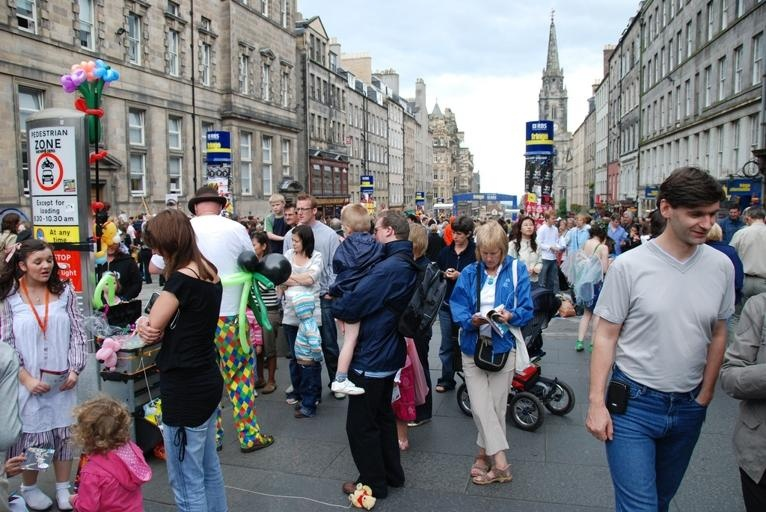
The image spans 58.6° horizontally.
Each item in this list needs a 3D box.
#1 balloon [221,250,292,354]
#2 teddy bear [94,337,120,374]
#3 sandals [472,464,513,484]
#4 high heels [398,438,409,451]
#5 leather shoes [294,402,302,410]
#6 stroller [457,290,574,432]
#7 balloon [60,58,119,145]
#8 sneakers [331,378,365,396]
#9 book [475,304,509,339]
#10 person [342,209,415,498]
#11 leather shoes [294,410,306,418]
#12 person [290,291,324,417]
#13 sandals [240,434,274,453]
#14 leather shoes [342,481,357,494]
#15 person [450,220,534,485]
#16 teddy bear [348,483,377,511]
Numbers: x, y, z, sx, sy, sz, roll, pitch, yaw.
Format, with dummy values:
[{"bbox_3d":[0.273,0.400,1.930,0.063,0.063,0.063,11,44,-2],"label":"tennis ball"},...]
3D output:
[{"bbox_3d":[-1.426,0.509,7.551,0.666,1.146,0.528,5,13,24],"label":"balloon"},{"bbox_3d":[-3.000,1.103,7.505,0.280,0.451,0.315,-1,-15,-18],"label":"teddy bear"},{"bbox_3d":[1.182,2.355,7.327,0.394,0.195,0.188,2,-1,7],"label":"sandals"},{"bbox_3d":[0.241,2.227,8.004,0.150,0.072,0.087,9,1,11],"label":"high heels"},{"bbox_3d":[-1.134,2.009,9.066,0.101,0.109,0.247,2,3,-3],"label":"leather shoes"},{"bbox_3d":[1.650,1.256,8.857,0.937,1.634,1.460,-5,6,-43],"label":"stroller"},{"bbox_3d":[-4.127,-2.189,9.648,0.669,1.194,1.404,-4,12,-16],"label":"balloon"},{"bbox_3d":[-0.379,1.354,7.049,0.365,0.187,0.146,3,4,-8],"label":"sneakers"},{"bbox_3d":[1.169,0.714,7.237,0.344,0.284,0.196,-5,12,-19],"label":"book"},{"bbox_3d":[-0.048,1.044,7.235,0.636,2.863,0.897,7,14,33],"label":"person"},{"bbox_3d":[-1.081,2.066,8.853,0.152,0.072,0.064,11,-1,-3],"label":"leather shoes"},{"bbox_3d":[-1.052,1.359,8.984,0.409,1.379,0.601,-3,12,-11],"label":"person"},{"bbox_3d":[-1.490,2.201,8.052,0.150,0.179,0.368,12,19,42],"label":"sandals"},{"bbox_3d":[-0.363,2.448,7.160,0.181,0.076,0.086,16,9,-33],"label":"leather shoes"},{"bbox_3d":[1.162,1.021,7.430,0.833,2.757,0.865,3,12,16],"label":"person"},{"bbox_3d":[-0.224,2.487,7.021,0.280,0.192,0.173,3,12,16],"label":"teddy bear"}]
